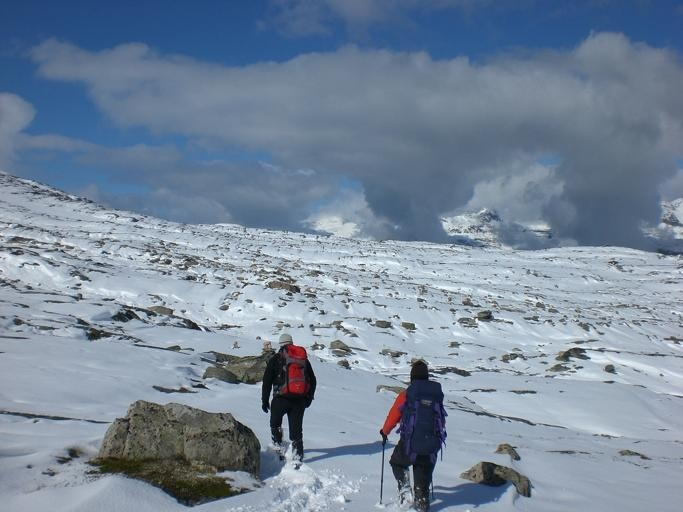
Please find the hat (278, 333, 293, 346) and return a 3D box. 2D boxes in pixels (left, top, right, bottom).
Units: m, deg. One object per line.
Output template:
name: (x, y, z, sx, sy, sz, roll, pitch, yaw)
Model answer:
hat: (-1.913, 2.801, 22.164, 0.599, 0.393, 0.385, -4, 2, -20)
